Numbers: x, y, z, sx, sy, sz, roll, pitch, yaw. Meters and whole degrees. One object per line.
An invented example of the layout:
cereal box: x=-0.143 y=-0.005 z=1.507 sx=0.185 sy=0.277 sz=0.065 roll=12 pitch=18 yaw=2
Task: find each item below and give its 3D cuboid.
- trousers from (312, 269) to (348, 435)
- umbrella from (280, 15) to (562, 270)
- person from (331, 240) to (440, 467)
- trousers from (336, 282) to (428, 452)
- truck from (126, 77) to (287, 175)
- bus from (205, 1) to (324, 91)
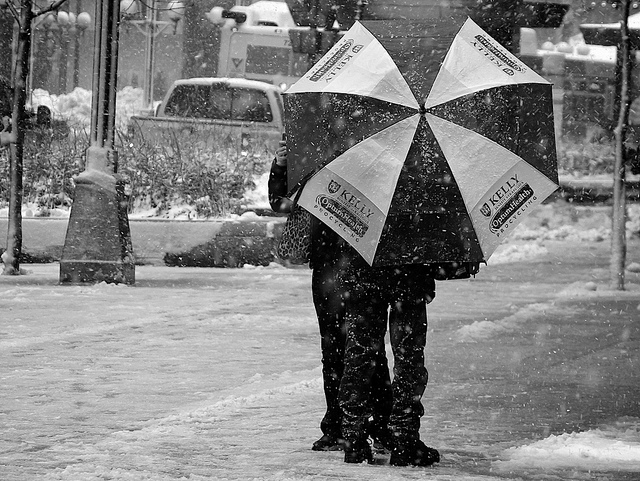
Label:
trousers: x=0.084 y=0.837 z=10.488 sx=0.292 sy=1.344 sz=0.377 roll=-3 pitch=-4 yaw=18
umbrella: x=0.701 y=-0.733 z=9.996 sx=1.891 sy=1.887 sz=0.689 roll=43 pitch=-6 yaw=6
person: x=0.488 y=0.849 z=10.156 sx=0.826 sy=1.603 sz=0.525 roll=1 pitch=9 yaw=0
trousers: x=0.480 y=0.896 z=10.181 sx=0.653 sy=1.367 sz=0.360 roll=2 pitch=9 yaw=1
truck: x=-1.606 y=-1.899 z=21.172 sx=1.696 sy=1.339 sz=2.959 roll=7 pitch=15 yaw=13
bus: x=-1.257 y=-3.536 z=29.639 sx=2.910 sy=1.870 sz=3.661 roll=4 pitch=13 yaw=6
